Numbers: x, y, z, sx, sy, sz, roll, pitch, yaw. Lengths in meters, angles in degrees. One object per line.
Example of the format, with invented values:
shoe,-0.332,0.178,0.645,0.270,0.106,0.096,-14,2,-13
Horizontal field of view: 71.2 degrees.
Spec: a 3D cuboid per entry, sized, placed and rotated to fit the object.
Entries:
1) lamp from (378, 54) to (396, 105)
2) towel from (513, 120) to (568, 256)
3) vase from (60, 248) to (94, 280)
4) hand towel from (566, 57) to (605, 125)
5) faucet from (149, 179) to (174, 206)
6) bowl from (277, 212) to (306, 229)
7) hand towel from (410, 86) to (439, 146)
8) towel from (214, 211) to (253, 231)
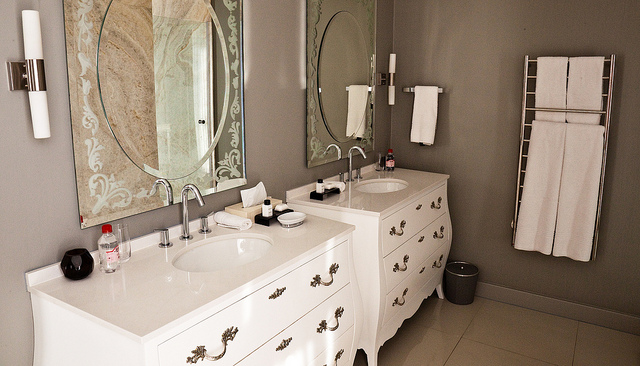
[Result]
lamp,0.654,-0.968,4.214,0.108,0.462,0.248,9,21,30
towel,1.790,0.033,3.645,0.402,1.019,0.152,2,4,33
vase,-1.356,0.447,2.494,0.145,0.148,0.139,-17,23,-39
hand towel,2.133,-0.739,3.597,0.265,0.520,0.097,7,20,26
faucet,-0.977,0.068,2.755,0.136,0.200,0.152,-8,19,-18
bowl,-0.189,0.246,3.073,0.156,0.070,0.177,7,19,27
hand towel,0.974,-0.632,4.150,0.223,0.510,0.132,8,21,27
towel,-0.580,0.254,2.998,0.171,0.053,0.131,9,12,31
